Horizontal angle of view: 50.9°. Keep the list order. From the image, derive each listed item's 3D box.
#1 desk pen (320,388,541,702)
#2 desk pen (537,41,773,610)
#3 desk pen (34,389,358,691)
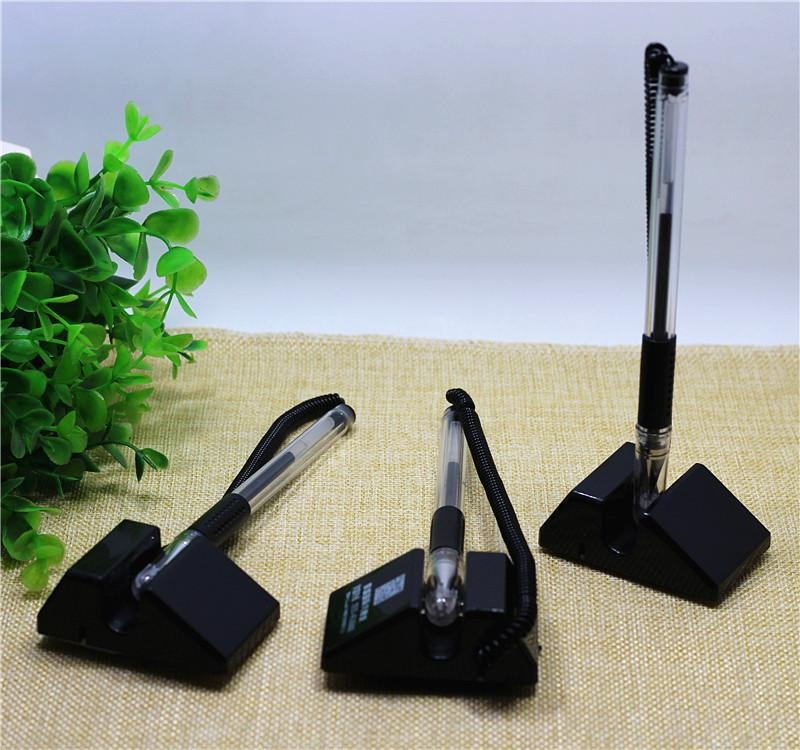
[{"bbox_3d":[0.068,0.174,1.055,0.229,0.108,0.397,4,33,9],"label":"desk pen"},{"bbox_3d":[0.369,-0.041,1.042,0.300,0.657,0.227,-2,10,-18],"label":"desk pen"},{"bbox_3d":[-0.228,0.211,1.145,0.266,0.211,0.481,5,10,20],"label":"desk pen"}]
